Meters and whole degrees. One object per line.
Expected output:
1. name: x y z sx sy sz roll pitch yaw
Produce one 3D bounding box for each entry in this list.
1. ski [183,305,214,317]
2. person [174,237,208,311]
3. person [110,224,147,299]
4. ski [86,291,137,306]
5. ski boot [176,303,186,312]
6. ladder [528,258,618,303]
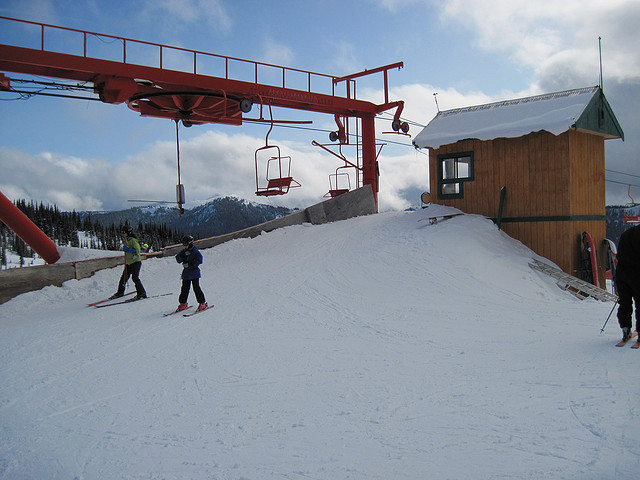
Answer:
1. ski: -2.905 1.704 11.872 0.049 0.054 0.490 19 31 37
2. person: -3.145 0.804 12.064 0.696 1.759 0.580 -3 7 4
3. person: -5.342 0.622 13.721 0.890 1.958 1.160 -7 8 -24
4. ski: -5.768 1.641 13.829 0.140 0.075 1.131 -7 9 23
5. ski boot: -3.363 1.633 12.058 0.306 0.137 0.103 -8 -5 -28
6. ladder: 6.697 1.138 13.082 0.721 0.226 2.700 -10 37 -45
